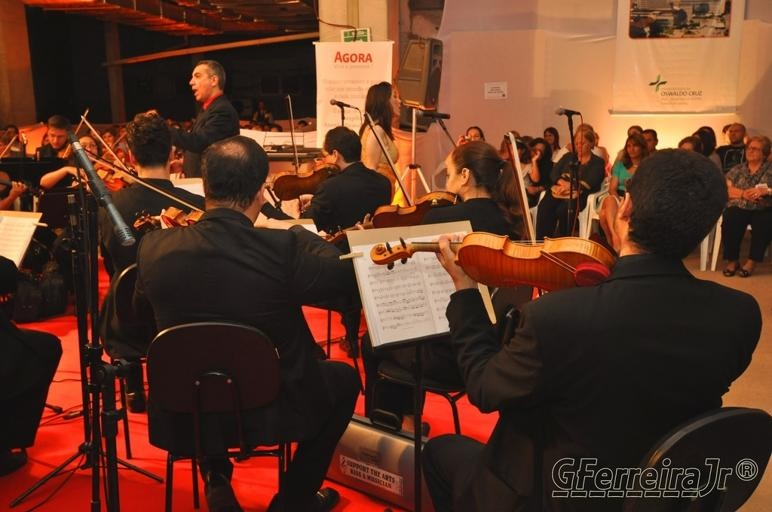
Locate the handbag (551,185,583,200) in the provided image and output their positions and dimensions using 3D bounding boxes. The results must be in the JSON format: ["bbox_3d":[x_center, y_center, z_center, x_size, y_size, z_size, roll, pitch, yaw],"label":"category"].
[{"bbox_3d":[1.855,-0.649,6.857,0.404,0.140,0.413,3,8,37],"label":"handbag"}]

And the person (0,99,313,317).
[{"bbox_3d":[-1.392,-0.438,4.593,0.964,0.549,2.379,22,22,6],"label":"person"}]

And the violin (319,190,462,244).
[{"bbox_3d":[0.032,-0.297,4.691,0.987,0.390,0.164,-14,62,-23],"label":"violin"}]
